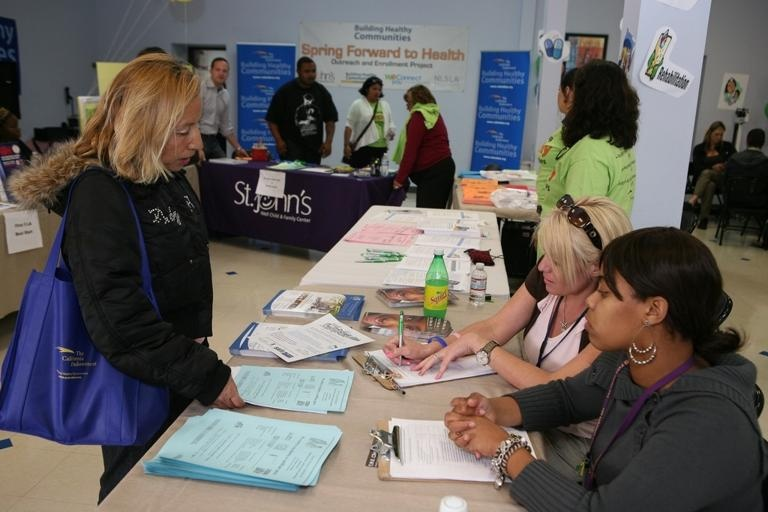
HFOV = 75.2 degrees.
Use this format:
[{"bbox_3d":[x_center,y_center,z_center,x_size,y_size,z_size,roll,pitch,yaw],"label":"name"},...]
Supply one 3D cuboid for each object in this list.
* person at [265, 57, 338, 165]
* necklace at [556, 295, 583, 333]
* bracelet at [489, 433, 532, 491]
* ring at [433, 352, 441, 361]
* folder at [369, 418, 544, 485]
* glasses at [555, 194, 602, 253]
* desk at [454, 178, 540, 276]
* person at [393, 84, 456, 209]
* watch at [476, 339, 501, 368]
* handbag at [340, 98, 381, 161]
[{"bbox_3d":[-0.970,-1.685,5.922,0.828,1.244,0.432,-5,18,-13],"label":"person"},{"bbox_3d":[0.678,0.218,1.816,0.083,0.115,0.029,22,26,24],"label":"necklace"},{"bbox_3d":[0.323,0.551,1.317,0.112,0.113,0.041,-39,-1,-6],"label":"bracelet"},{"bbox_3d":[0.187,0.362,1.741,0.018,0.022,0.024,-2,15,-6],"label":"ring"},{"bbox_3d":[0.143,0.542,1.356,0.245,0.018,0.191,3,19,2],"label":"folder"},{"bbox_3d":[0.684,-0.094,1.720,0.048,0.163,0.159,-35,40,-4],"label":"glasses"},{"bbox_3d":[0.997,-0.170,4.433,0.666,0.788,1.201,4,23,8],"label":"desk"},{"bbox_3d":[0.356,-1.014,4.846,0.561,1.212,0.782,9,20,27],"label":"person"},{"bbox_3d":[0.353,0.345,1.721,0.057,0.094,0.090,33,8,30],"label":"watch"},{"bbox_3d":[-0.244,-1.594,6.448,0.563,0.851,0.447,-1,18,-2],"label":"handbag"}]
